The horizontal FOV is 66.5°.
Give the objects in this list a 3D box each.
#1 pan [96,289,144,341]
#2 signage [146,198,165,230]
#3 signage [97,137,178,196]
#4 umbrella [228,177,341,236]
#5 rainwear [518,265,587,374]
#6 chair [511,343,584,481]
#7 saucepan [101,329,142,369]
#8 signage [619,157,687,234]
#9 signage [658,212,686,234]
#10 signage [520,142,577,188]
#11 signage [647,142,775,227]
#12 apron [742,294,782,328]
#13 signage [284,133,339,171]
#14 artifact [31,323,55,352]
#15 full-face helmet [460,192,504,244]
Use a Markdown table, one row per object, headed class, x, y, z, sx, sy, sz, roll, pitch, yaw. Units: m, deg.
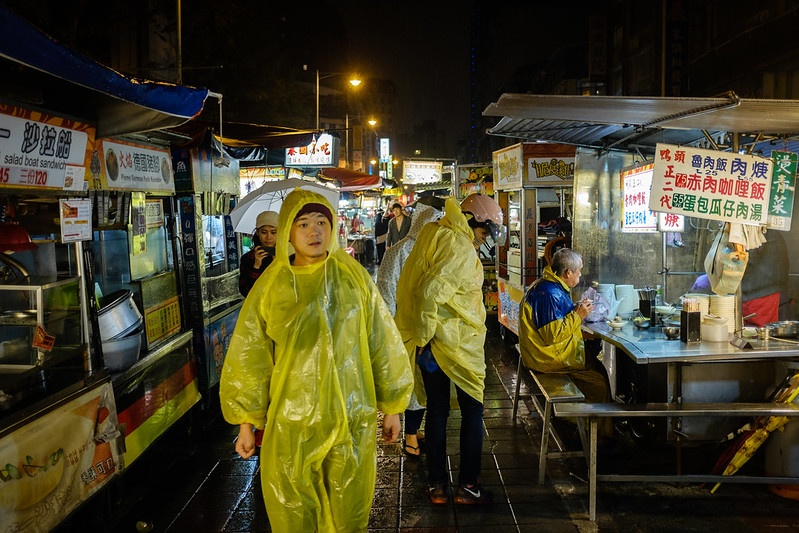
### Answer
| class | x | y | z | sx | sy | sz | roll | pitch | yaw |
| --- | --- | --- | --- | --- | --- | --- | --- | --- | --- |
| pan | -2.900 | 0.500 | 6.353 | 0.434 | 0.308 | 0.443 | -26 | 4 | 14 |
| signage | -2.988 | -0.648 | 7.457 | 0.070 | 0.277 | 0.299 | 3 | 2 | 11 |
| signage | -2.941 | -1.096 | 6.872 | 1.562 | 0.539 | 0.046 | 11 | 21 | 38 |
| umbrella | -1.360 | -0.660 | 6.813 | 0.999 | 0.415 | 0.952 | -6 | -32 | -18 |
| rainwear | 1.793 | 0.615 | 7.114 | 0.743 | 1.118 | 1.225 | -1 | 1 | 10 |
| chair | 1.691 | 1.656 | 6.840 | 0.390 | 0.586 | 1.384 | -2 | 3 | -1 |
| saucepan | -2.842 | 0.882 | 6.245 | 0.301 | 0.215 | 0.318 | -5 | -3 | -4 |
| signage | 3.179 | -0.845 | 7.700 | 0.344 | 0.849 | 0.962 | -2 | 3 | -6 |
| signage | 3.194 | -0.515 | 7.161 | 0.235 | 0.228 | 0.032 | 0 | 1 | 15 |
| signage | 2.397 | -1.646 | 10.118 | 0.977 | 0.684 | 0.505 | -2 | 4 | -13 |
| signage | 3.345 | -0.856 | 6.543 | 1.021 | 0.664 | 0.134 | 5 | 4 | 4 |
| apron | 4.940 | 0.612 | 8.267 | 0.360 | 0.318 | 0.043 | -11 | -11 | 11 |
| signage | -1.893 | -2.533 | 13.457 | 1.322 | 0.850 | 0.435 | 6 | 2 | 24 |
| artifact | -3.080 | 0.617 | 5.250 | 0.174 | 0.230 | 0.046 | 27 | 0 | -7 |
| full-face helmet | 0.878 | -0.516 | 6.497 | 0.527 | 0.471 | 0.400 | 16 | -9 | -3 |
